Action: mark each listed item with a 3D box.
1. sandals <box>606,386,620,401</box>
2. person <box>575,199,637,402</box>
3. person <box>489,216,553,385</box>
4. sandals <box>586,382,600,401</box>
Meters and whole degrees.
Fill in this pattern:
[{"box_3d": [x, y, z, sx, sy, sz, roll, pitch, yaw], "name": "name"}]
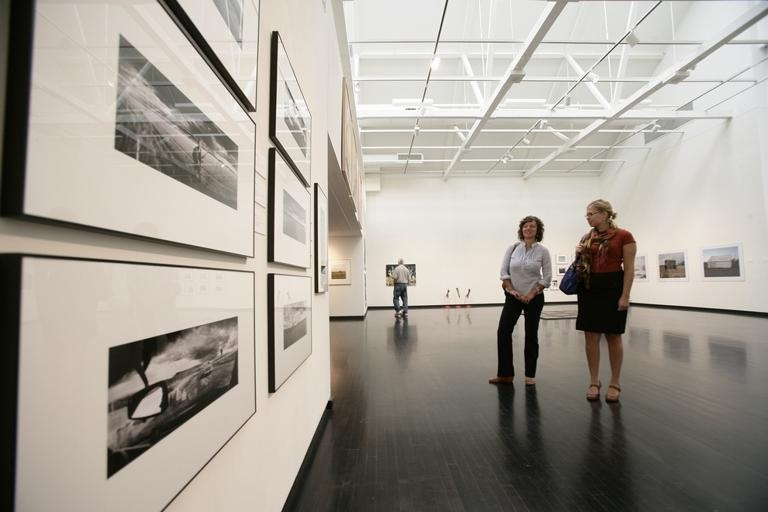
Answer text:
[{"box_3d": [1.931, 1.135, 4.083, 0.110, 0.120, 0.180, 1, 4, 25], "name": "sandals"}, {"box_3d": [1.916, 0.364, 4.209, 0.456, 1.705, 0.529, 1, 4, 28], "name": "person"}, {"box_3d": [1.302, 0.431, 4.657, 0.547, 1.612, 0.527, 1, 4, 17], "name": "person"}, {"box_3d": [1.793, 1.155, 4.142, 0.076, 0.100, 0.240, -4, -15, 19], "name": "sandals"}]
